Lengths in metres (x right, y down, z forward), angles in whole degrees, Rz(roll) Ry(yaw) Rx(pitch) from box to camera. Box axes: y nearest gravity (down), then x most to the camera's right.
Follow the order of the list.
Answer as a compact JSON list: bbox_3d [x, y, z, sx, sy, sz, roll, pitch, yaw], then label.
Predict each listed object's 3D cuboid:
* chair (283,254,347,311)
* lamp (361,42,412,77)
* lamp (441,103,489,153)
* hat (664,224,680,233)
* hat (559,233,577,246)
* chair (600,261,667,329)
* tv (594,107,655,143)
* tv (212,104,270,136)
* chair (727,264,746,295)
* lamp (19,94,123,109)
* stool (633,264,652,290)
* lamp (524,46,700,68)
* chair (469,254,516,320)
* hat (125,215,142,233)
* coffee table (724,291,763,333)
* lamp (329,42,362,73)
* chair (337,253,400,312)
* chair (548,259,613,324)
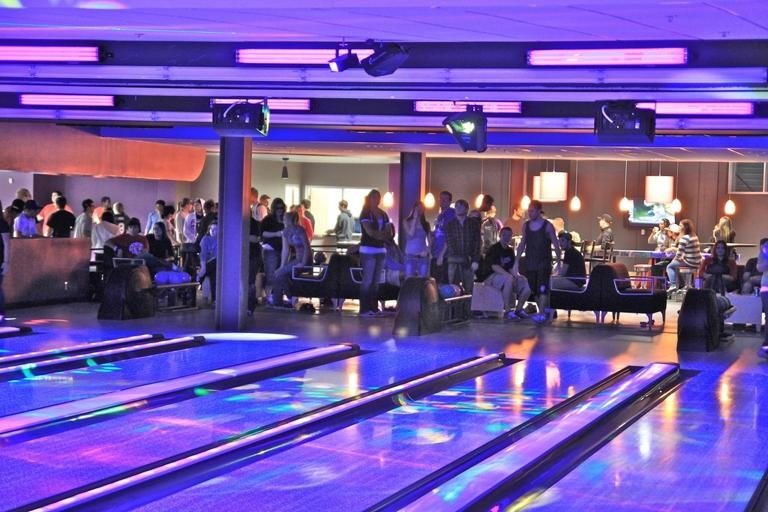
[{"bbox_3d":[-1.154,0.458,12.255,0.971,0.974,0.972,1,-1,13],"label":"chair"},{"bbox_3d":[-0.005,-2.246,7.731,0.555,0.373,0.269,1,3,-32],"label":"lamp"},{"bbox_3d":[1.166,-1.720,9.240,0.709,0.696,0.476,3,4,15],"label":"lamp"},{"bbox_3d":[7.668,-0.730,17.932,0.354,0.208,0.494,6,13,19],"label":"hat"},{"bbox_3d":[3.149,-0.273,11.738,0.241,0.255,0.529,3,3,16],"label":"hat"},{"bbox_3d":[4.250,0.627,11.497,1.048,1.112,1.016,-1,-1,21],"label":"chair"},{"bbox_3d":[3.118,-1.707,8.761,0.731,0.477,0.269,3,3,14],"label":"tv"},{"bbox_3d":[-1.991,-1.914,9.513,0.764,0.467,0.345,3,3,15],"label":"tv"},{"bbox_3d":[6.192,0.433,11.938,0.341,0.653,0.470,0,-3,19],"label":"chair"},{"bbox_3d":[-4.535,-2.232,9.804,1.016,0.177,0.182,1,-16,0],"label":"lamp"},{"bbox_3d":[5.450,0.443,14.244,0.464,0.541,0.475,-1,-4,-2],"label":"stool"},{"bbox_3d":[2.445,-2.230,7.576,1.808,0.269,0.185,6,13,18],"label":"lamp"},{"bbox_3d":[1.828,0.551,11.981,1.026,0.990,0.738,1,-4,-1],"label":"chair"},{"bbox_3d":[-4.459,-0.524,12.150,0.187,0.292,0.488,1,3,-27],"label":"hat"},{"bbox_3d":[5.876,0.866,11.095,0.656,0.683,0.665,1,2,27],"label":"coffee table"},{"bbox_3d":[-0.442,-2.327,7.926,0.304,0.182,0.322,-27,21,-25],"label":"lamp"},{"bbox_3d":[-0.258,0.473,11.963,0.934,1.025,0.957,1,-2,-5],"label":"chair"},{"bbox_3d":[3.356,0.595,11.315,0.863,0.877,0.971,2,-2,24],"label":"chair"}]
